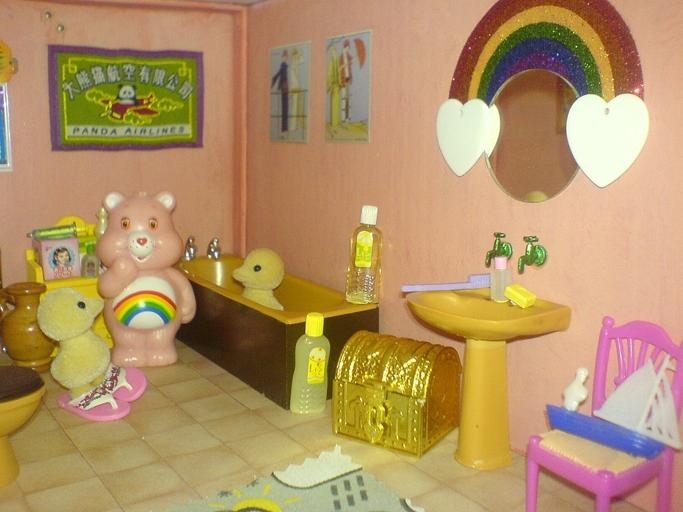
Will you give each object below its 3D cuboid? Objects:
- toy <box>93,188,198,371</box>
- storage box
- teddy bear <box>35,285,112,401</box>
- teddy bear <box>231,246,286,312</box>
[{"bbox_3d":[-1.234,0.158,3.582,0.568,1.103,0.314,-3,13,-16],"label":"toy"},{"bbox_3d":[0.291,0.607,2.913,0.564,0.525,0.543,6,8,38],"label":"storage box"},{"bbox_3d":[-1.425,0.471,3.008,0.323,0.604,0.153,-7,15,-29],"label":"teddy bear"},{"bbox_3d":[-0.473,0.132,3.533,0.380,0.432,0.326,3,10,-32],"label":"teddy bear"}]
